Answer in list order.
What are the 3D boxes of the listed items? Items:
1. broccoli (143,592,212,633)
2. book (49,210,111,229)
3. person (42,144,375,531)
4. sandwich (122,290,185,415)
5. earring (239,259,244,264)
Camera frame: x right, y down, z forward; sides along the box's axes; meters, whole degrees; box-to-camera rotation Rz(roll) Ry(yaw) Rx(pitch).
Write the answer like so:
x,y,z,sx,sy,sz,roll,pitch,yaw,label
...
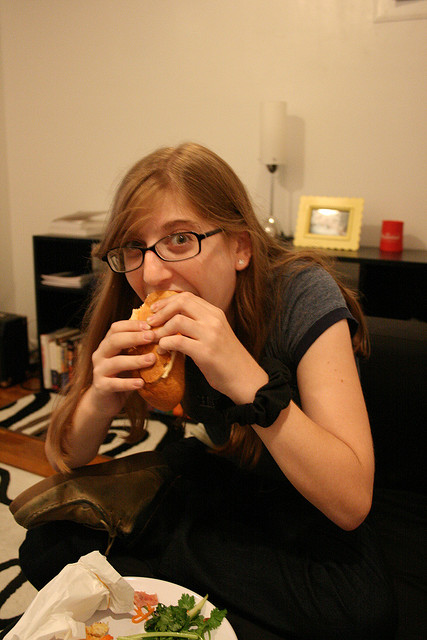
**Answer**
x,y,z,sx,sy,sz,roll,pitch,yaw,label
-0.051,0.378,0.682,0.068,0.018,0.045,-18,10,-29,broccoli
-0.662,-0.496,2.551,0.255,0.112,0.467,5,11,-15,book
0.013,0.081,1.053,0.664,0.726,0.475,-3,-1,29,person
-0.106,0.056,0.916,0.067,0.199,0.111,-2,0,-22,sandwich
0.052,-0.113,1.001,0.009,0.009,0.003,5,-19,-5,earring
